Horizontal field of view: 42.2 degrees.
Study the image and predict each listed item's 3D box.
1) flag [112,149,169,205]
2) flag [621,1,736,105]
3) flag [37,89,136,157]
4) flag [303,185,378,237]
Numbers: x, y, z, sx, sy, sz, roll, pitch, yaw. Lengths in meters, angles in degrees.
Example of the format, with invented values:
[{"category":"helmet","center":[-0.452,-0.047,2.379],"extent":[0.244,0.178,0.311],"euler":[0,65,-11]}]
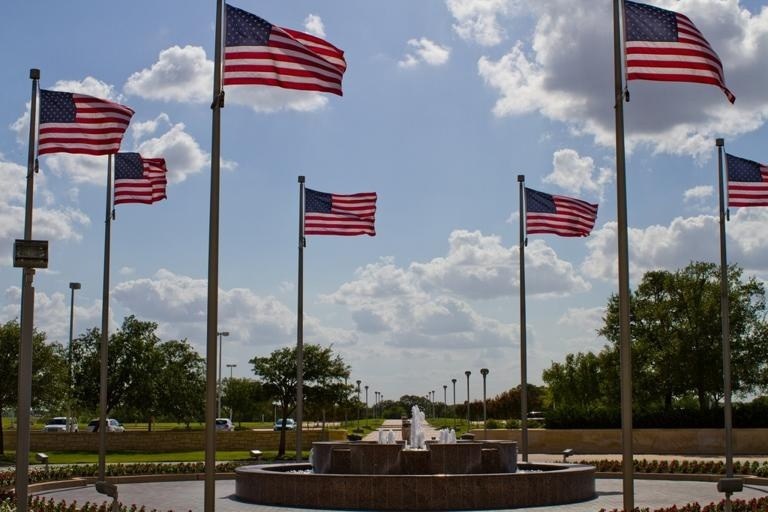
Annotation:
[{"category":"flag","center":[-11.188,-3.625,45.763],"extent":[2.498,2.430,0.244],"euler":[-7,17,-37]},{"category":"flag","center":[10.339,-7.920,36.382],"extent":[3.218,3.285,0.556],"euler":[0,-12,1]},{"category":"flag","center":[-11.921,-5.291,39.826],"extent":[3.617,2.962,0.281],"euler":[0,-15,-14]},{"category":"flag","center":[-2.219,-2.087,47.812],"extent":[3.312,2.256,0.822],"euler":[0,-12,-2]}]
